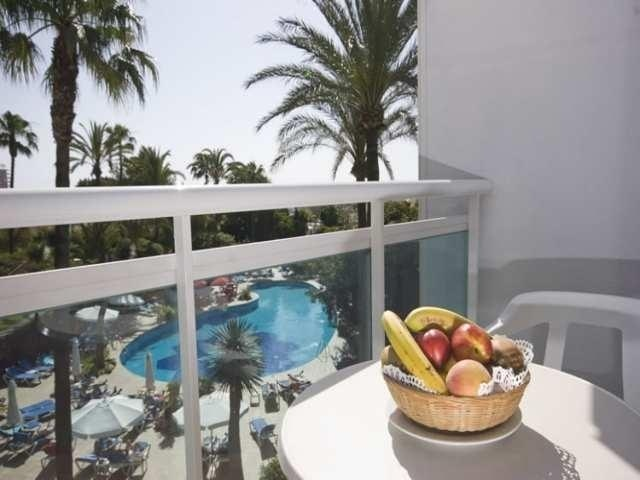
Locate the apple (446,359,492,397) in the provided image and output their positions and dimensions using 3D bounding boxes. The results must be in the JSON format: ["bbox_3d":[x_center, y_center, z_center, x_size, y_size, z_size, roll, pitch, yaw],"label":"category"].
[{"bbox_3d":[0.313,0.293,0.957,0.073,0.086,0.075,-2,-14,13],"label":"apple"}]

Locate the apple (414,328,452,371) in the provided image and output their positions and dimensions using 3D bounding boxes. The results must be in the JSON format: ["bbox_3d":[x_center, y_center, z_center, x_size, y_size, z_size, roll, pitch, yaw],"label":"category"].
[{"bbox_3d":[0.252,0.229,1.028,0.084,0.074,0.069,22,-7,9],"label":"apple"}]

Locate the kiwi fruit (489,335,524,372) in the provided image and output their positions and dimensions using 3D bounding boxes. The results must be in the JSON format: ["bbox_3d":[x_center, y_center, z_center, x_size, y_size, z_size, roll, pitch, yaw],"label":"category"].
[{"bbox_3d":[0.423,0.247,1.028,0.050,0.082,0.044,-15,-1,9],"label":"kiwi fruit"}]

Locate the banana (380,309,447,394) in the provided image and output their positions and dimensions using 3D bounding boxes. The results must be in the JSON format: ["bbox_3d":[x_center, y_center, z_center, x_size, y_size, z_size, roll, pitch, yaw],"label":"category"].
[{"bbox_3d":[0.207,0.232,0.986,0.056,0.075,0.208,-9,29,-30],"label":"banana"}]
